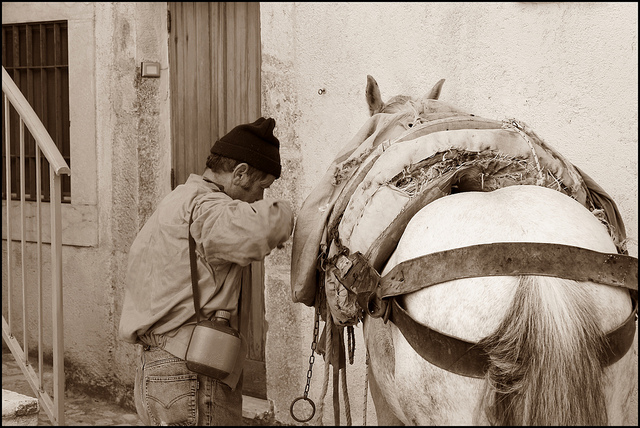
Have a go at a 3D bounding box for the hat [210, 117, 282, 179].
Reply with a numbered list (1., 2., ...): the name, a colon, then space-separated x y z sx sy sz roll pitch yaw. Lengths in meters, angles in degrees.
1. hat: -0.479 -0.466 6.331 0.431 0.318 0.318 20 5 -11

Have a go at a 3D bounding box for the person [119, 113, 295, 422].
1. person: -0.707 0.338 6.122 1.003 1.752 0.541 6 -2 -11

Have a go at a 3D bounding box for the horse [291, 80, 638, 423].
1. horse: 0.652 0.122 6.112 1.277 1.694 2.316 -4 14 -12
